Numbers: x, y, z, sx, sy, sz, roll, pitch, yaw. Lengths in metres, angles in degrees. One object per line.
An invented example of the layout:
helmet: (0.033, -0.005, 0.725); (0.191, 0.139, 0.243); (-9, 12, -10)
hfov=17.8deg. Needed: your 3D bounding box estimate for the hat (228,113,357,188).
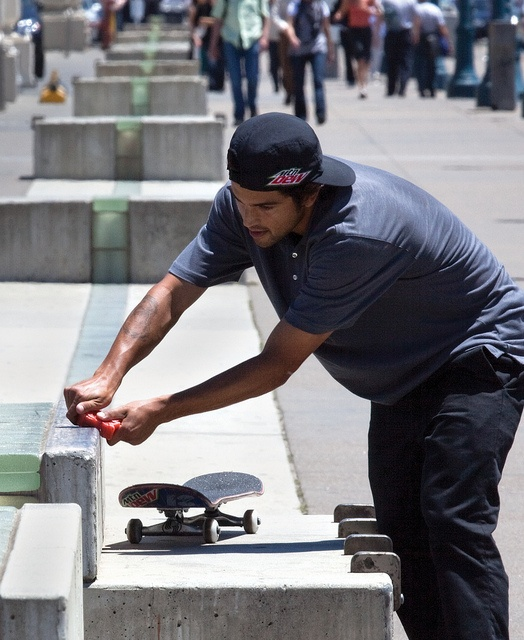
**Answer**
hat: (0.083, -0.483, 4.639); (0.357, 0.187, 0.242); (-2, 32, -16)
